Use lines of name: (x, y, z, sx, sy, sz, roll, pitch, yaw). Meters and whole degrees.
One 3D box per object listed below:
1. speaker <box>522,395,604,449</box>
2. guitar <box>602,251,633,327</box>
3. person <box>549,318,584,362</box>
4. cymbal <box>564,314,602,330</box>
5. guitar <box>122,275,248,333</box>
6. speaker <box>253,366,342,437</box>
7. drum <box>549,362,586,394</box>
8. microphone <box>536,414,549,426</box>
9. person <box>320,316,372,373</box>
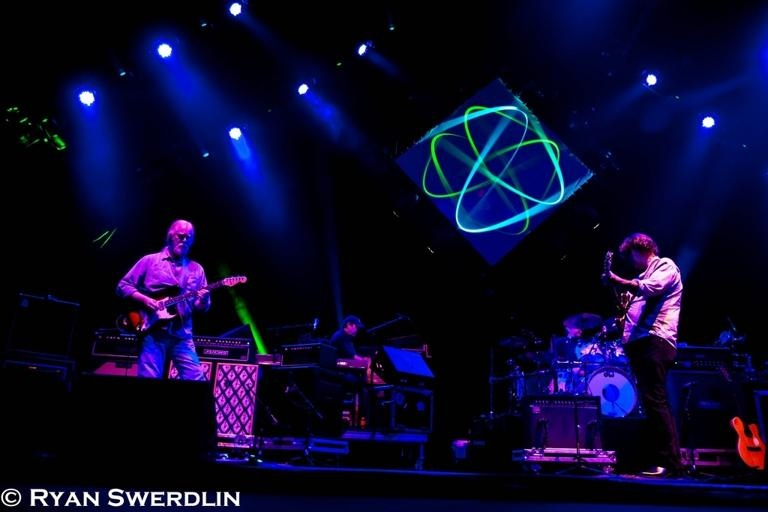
speaker: (2.443, 2.263, 8.594, 0.535, 0.648, 0.958, 5, -14, -28)
guitar: (3.182, 0.435, 8.665, 0.141, 0.444, 1.128, 2, -23, 35)
person: (2.847, 1.205, 9.901, 0.477, 0.669, 1.061, 7, 10, 16)
cymbal: (3.067, 0.997, 9.787, 0.355, 0.086, 0.359, -4, -42, 13)
guitar: (-2.519, 0.626, 7.637, 1.199, 0.589, 0.747, 1, 10, -23)
speaker: (-1.434, 2.032, 9.130, 0.812, 1.111, 1.370, 6, -11, -10)
drum: (2.675, 1.811, 9.383, 0.530, 0.497, 0.457, 10, -18, -26)
microphone: (2.051, 2.142, 8.275, 0.140, 0.121, 0.078, 6, 9, 11)
person: (-0.646, 1.430, 10.198, 0.741, 1.272, 0.727, 4, -21, -5)
